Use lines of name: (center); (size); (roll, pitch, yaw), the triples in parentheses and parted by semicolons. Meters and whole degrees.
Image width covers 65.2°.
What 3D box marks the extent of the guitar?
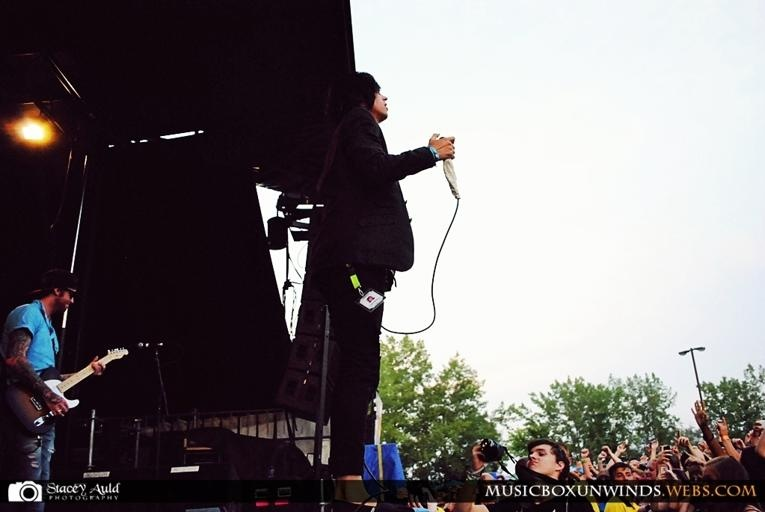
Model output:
guitar: (-4.384, 1.866, 8.274); (0.238, 1.757, 0.672); (-31, -81, 36)

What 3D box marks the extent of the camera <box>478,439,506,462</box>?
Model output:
camera: (1.140, 2.068, 6.327); (0.187, 0.260, 0.357); (13, -33, -31)

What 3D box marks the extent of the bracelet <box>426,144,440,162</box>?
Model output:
bracelet: (0.523, -1.026, 5.964); (0.056, 0.169, 0.159); (-27, -45, 1)
